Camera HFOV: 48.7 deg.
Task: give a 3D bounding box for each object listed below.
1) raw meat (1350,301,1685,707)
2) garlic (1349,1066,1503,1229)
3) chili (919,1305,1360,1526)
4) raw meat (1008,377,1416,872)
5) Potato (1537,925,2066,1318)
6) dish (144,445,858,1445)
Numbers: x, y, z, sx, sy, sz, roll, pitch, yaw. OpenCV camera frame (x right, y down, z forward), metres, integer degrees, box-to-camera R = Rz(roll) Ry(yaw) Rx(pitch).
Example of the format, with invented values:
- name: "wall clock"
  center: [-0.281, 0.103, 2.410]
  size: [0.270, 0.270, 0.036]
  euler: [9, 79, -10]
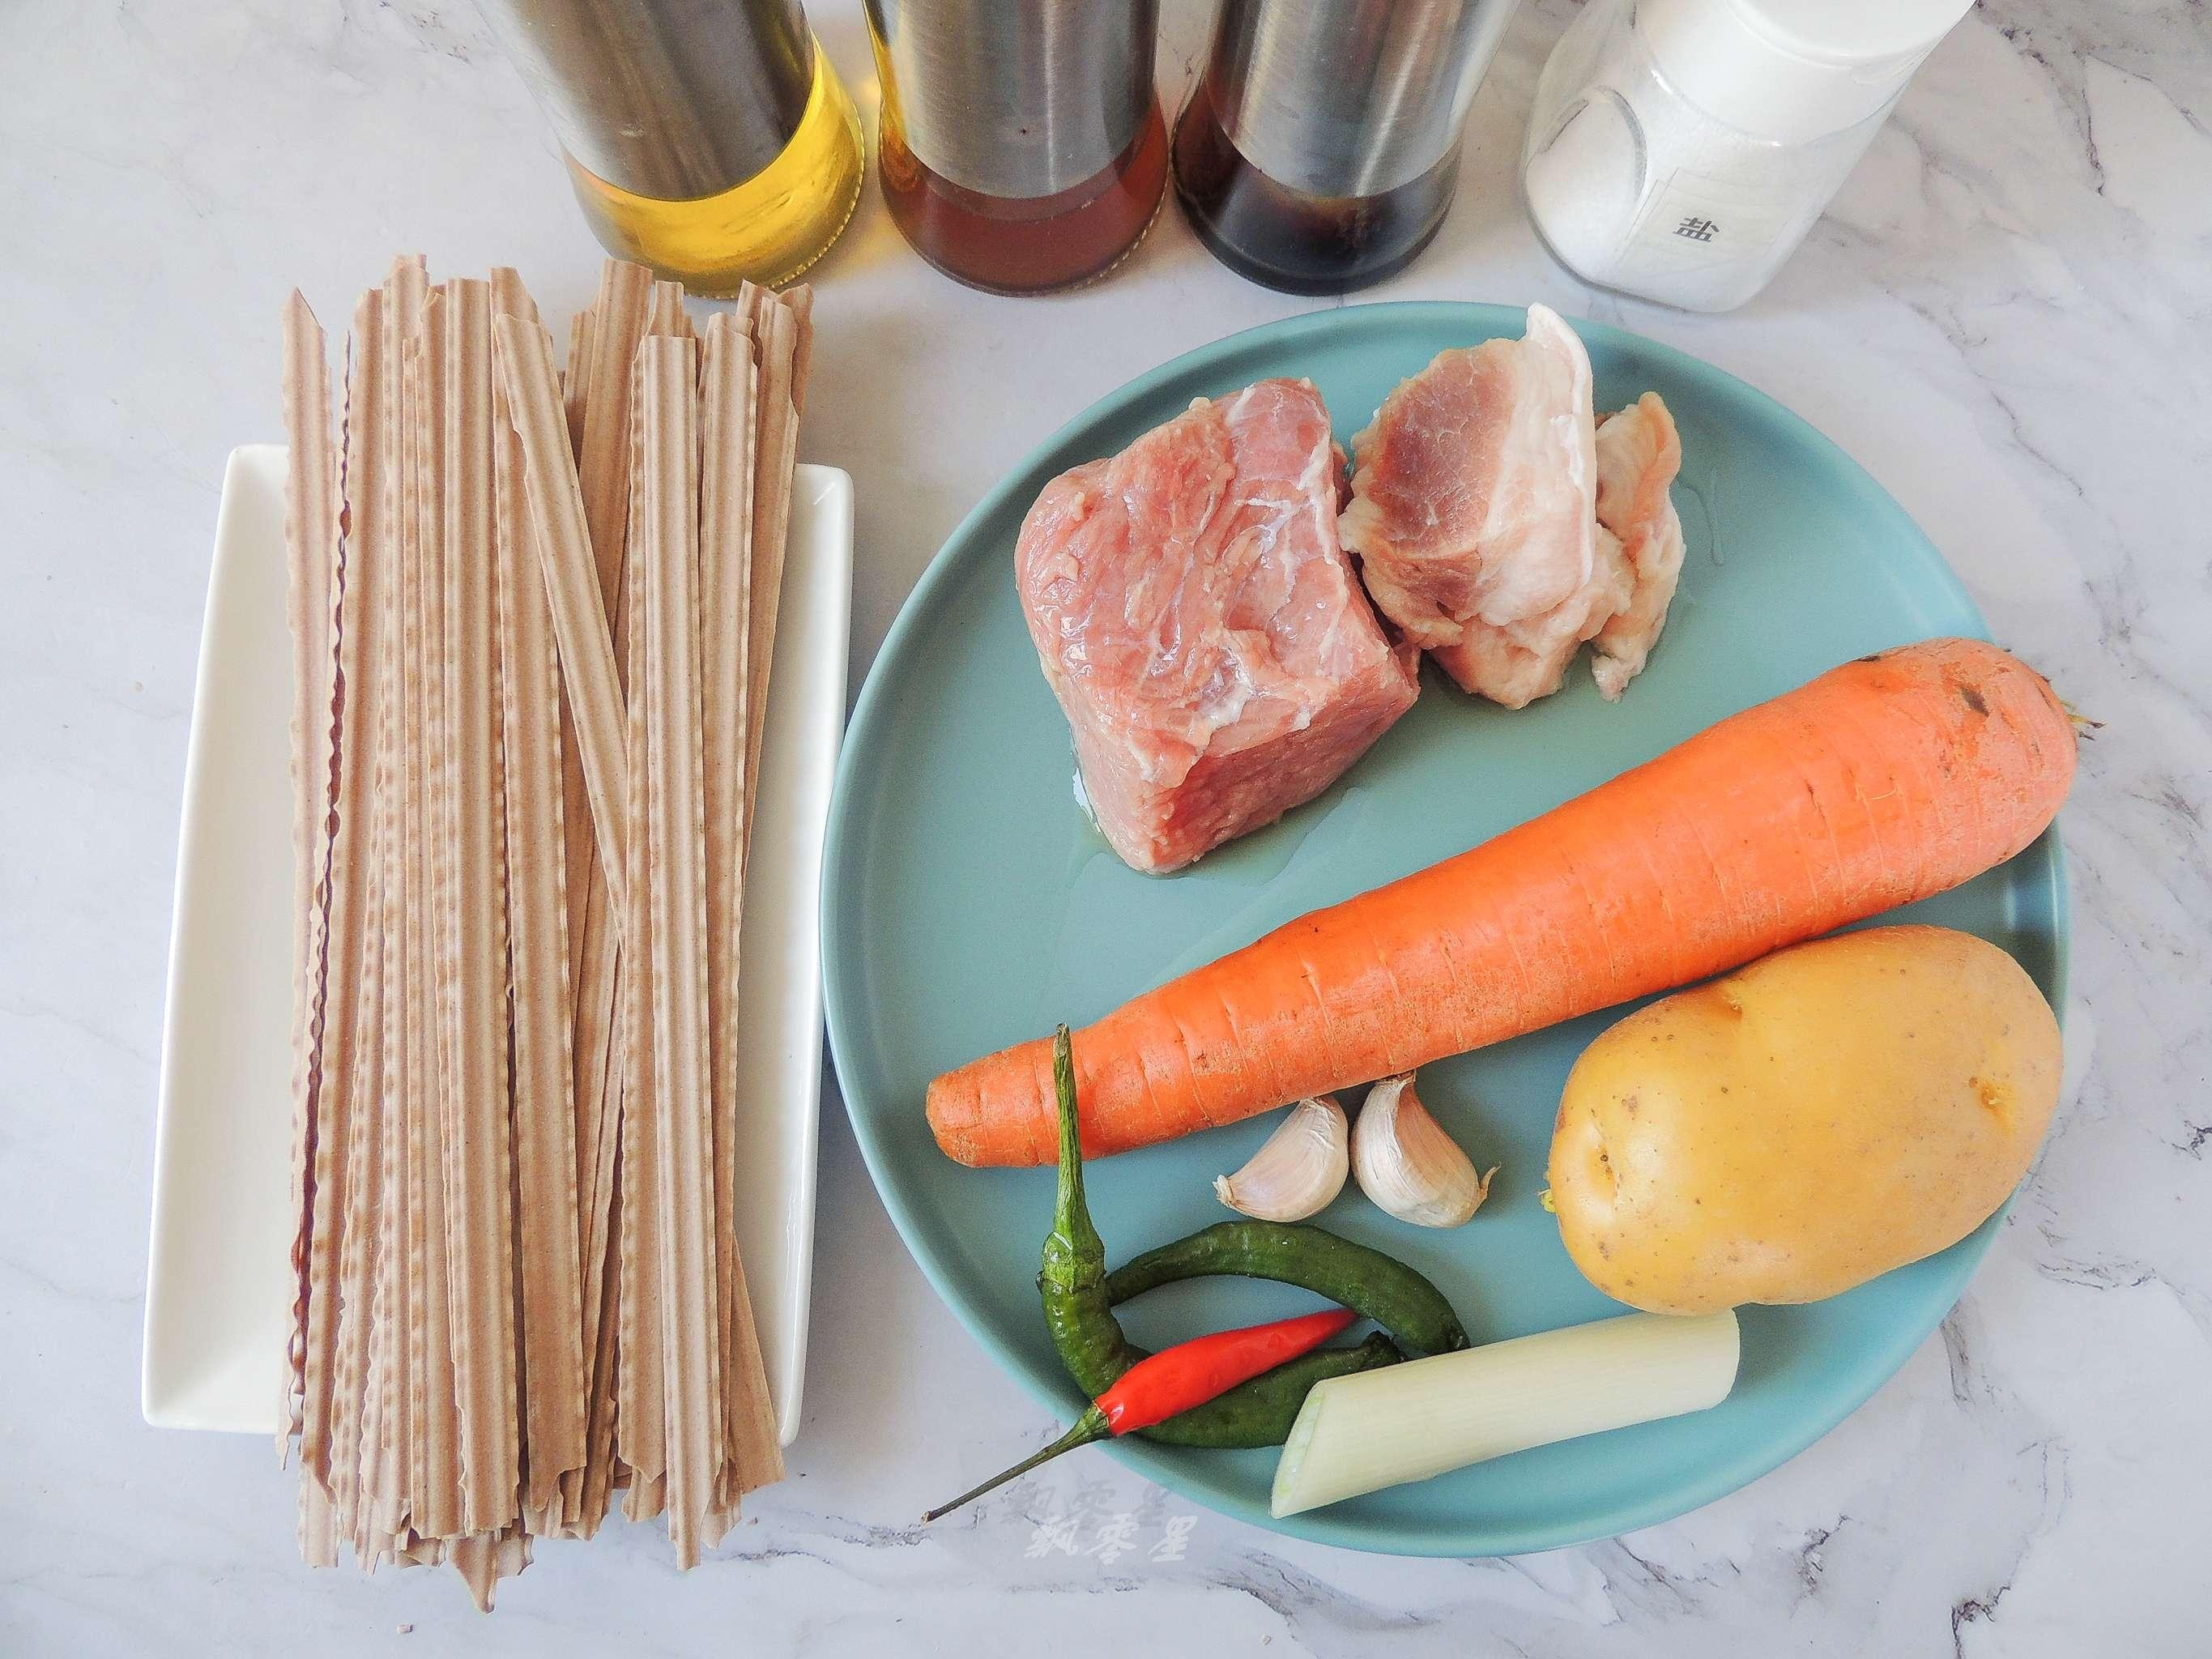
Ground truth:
- name: "raw meat"
  center: [0.350, -0.273, 2.086]
  size: [0.261, 0.104, 0.357]
  euler: [-9, 91, 3]
- name: "garlic"
  center: [0.273, 0.288, 2.150]
  size: [0.092, 0.051, 0.147]
  euler: [-13, 82, -10]
- name: "chili"
  center: [0.039, 0.515, 2.140]
  size: [0.363, 0.056, 0.063]
  euler: [-25, 104, -14]
- name: "raw meat"
  center: [0.091, -0.184, 2.165]
  size: [0.318, 0.159, 0.342]
  euler: [-26, 82, -7]
- name: "Potato"
  center: [0.604, 0.277, 2.195]
  size: [0.389, 0.227, 0.289]
  euler: [-20, 67, 3]
- name: "dish"
  center: [-0.732, 0.127, 2.421]
  size: [0.524, 0.125, 0.980]
  euler: [2, 89, -3]
